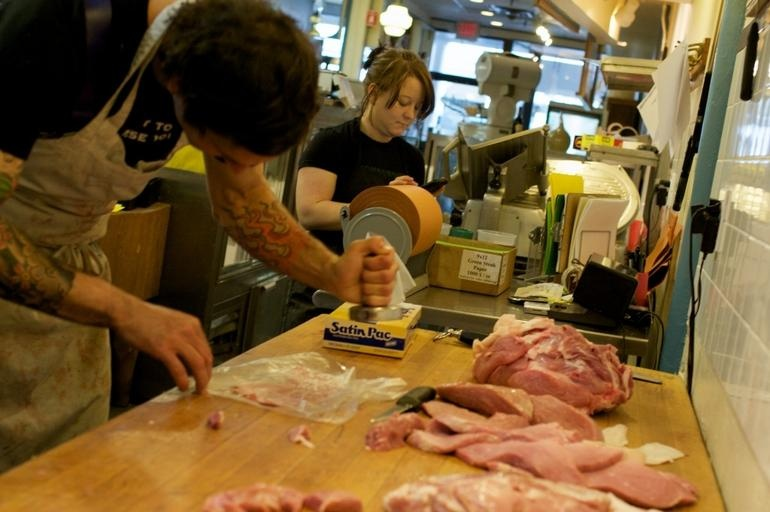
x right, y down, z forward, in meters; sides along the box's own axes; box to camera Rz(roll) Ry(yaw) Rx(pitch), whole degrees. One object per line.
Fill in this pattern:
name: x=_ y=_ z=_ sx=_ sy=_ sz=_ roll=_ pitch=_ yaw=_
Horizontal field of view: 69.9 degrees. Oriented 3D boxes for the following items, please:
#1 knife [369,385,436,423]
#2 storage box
knife: x=0.053 y=0.408 z=1.565 sx=0.061 sy=0.053 sz=0.258 roll=9 pitch=14 yaw=35
storage box: x=0.461 y=0.041 z=2.879 sx=0.407 sy=0.211 sz=0.301 roll=9 pitch=9 yaw=22
